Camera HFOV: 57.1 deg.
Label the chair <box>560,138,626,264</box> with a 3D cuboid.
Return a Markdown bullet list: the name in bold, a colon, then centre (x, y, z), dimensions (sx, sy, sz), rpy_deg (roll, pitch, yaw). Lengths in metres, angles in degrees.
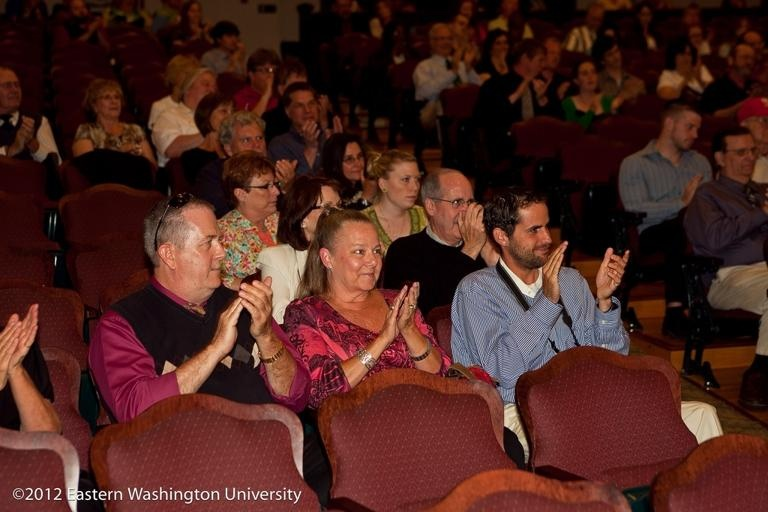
- **chair**: centre (1.838, -0.574, 6.130), dimensions (0.644, 0.945, 0.497), rpy_deg (-23, 14, -40)

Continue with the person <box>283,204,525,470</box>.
- **person**: centre (0.099, 0.514, 3.302), dimensions (0.962, 1.423, 1.139), rpy_deg (-8, 10, -33)

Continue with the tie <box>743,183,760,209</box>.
- **tie**: centre (2.783, -0.446, 5.316), dimensions (0.121, 0.176, 0.044), rpy_deg (-10, -7, -17)

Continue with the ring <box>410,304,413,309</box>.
- **ring**: centre (0.126, 0.226, 3.238), dimensions (0.019, 0.020, 0.004), rpy_deg (-1, 3, -14)

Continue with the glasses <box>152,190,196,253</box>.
- **glasses**: centre (-0.949, -0.163, 3.059), dimensions (0.062, 0.224, 0.212), rpy_deg (25, 21, 5)

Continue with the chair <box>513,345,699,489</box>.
- **chair**: centre (0.947, 0.651, 3.353), dimensions (0.619, 0.863, 0.636), rpy_deg (-7, -8, -13)

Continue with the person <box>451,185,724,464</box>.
- **person**: centre (0.957, 0.426, 3.698), dimensions (0.833, 1.489, 1.227), rpy_deg (-21, 31, -34)

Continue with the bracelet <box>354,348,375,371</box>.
- **bracelet**: centre (-0.075, 0.465, 3.238), dimensions (0.089, 0.088, 0.076), rpy_deg (-45, 18, -13)

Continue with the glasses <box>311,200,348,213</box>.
- **glasses**: centre (-0.297, -0.270, 3.986), dimensions (0.120, 0.038, 0.125), rpy_deg (5, -24, -33)

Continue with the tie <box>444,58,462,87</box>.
- **tie**: centre (0.827, -2.164, 8.264), dimensions (0.106, 0.339, 0.255), rpy_deg (-2, 20, -3)

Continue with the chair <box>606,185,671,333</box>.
- **chair**: centre (2.192, -0.086, 5.795), dimensions (0.589, 0.885, 0.634), rpy_deg (10, 33, 31)

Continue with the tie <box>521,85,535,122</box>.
- **tie**: centre (1.573, -1.668, 7.663), dimensions (0.118, 0.357, 0.264), rpy_deg (8, 11, 29)

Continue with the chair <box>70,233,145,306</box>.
- **chair**: centre (-1.779, 0.076, 4.611), dimensions (0.446, 0.663, 0.455), rpy_deg (-2, -1, -27)

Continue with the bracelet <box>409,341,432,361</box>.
- **bracelet**: centre (0.180, 0.446, 3.365), dimensions (0.130, 0.106, 0.055), rpy_deg (-3, 11, -27)

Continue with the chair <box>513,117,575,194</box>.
- **chair**: centre (1.559, -0.986, 6.793), dimensions (0.620, 0.883, 0.697), rpy_deg (-1, 3, -5)
